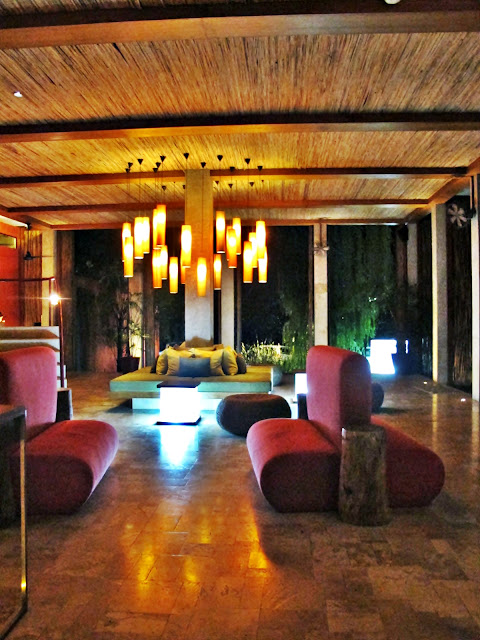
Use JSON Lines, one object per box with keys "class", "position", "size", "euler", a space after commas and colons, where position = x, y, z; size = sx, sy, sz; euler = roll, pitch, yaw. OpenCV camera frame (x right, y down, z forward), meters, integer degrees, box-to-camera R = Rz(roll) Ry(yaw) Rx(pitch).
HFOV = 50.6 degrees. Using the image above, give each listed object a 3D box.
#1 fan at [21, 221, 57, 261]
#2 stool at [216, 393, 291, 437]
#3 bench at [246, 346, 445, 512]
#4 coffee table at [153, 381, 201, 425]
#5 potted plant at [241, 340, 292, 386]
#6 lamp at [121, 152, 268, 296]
{"class": "fan", "position": [-4.011, -1.568, 10.061], "size": [0.708, 0.700, 0.383], "euler": [0, -3, 2]}
{"class": "stool", "position": [0.061, 0.825, 4.619], "size": [0.453, 0.225, 0.439], "euler": [1, 0, -38]}
{"class": "bench", "position": [0.579, 0.502, 2.922], "size": [0.826, 0.666, 1.090], "euler": [-1, -1, -1]}
{"class": "coffee table", "position": [-0.656, 0.837, 5.213], "size": [0.445, 0.401, 0.421], "euler": [0, 3, 2]}
{"class": "potted plant", "position": [0.444, 0.796, 9.156], "size": [0.650, 0.335, 0.631], "euler": [-2, 6, -44]}
{"class": "lamp", "position": [-0.637, -1.355, 7.110], "size": [1.968, 1.678, 1.795], "euler": [1, -3, -23]}
